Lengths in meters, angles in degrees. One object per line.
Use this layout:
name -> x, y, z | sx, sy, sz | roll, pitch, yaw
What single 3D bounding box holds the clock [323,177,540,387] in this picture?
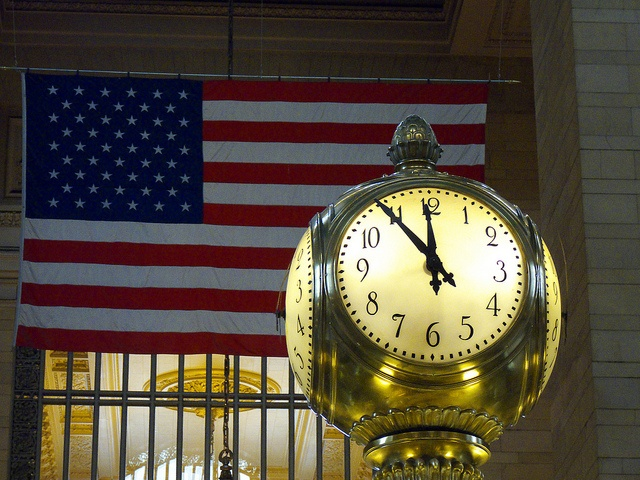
clock -> 0.865, 0.418, 14.208 | 1.373, 1.408, 0.122 | -8, -9, -4
